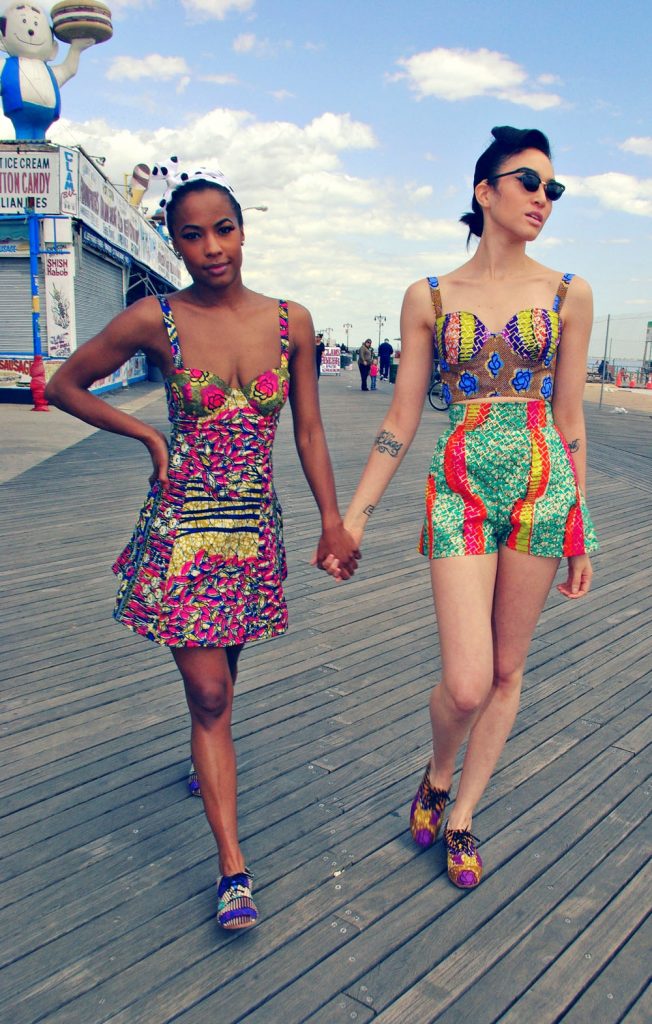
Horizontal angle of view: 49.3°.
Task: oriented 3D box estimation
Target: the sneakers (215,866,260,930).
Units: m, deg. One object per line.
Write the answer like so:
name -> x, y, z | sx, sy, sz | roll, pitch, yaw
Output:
sneakers -> -0.211, 0.900, 1.651 | 0.080, 0.065, 0.155 | -1, -8, -6

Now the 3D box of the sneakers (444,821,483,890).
sneakers -> 0.355, 0.892, 1.867 | 0.067, 0.059, 0.154 | 1, 16, -3

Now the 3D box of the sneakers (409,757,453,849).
sneakers -> 0.274, 0.843, 2.021 | 0.097, 0.253, 0.111 | 14, 5, -14

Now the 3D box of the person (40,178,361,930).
person -> -0.272, 0.100, 1.767 | 0.535, 1.705, 0.585 | 7, 12, 30

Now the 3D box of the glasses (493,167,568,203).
glasses -> 0.487, -0.785, 1.704 | 0.160, 0.073, 0.051 | 2, 10, 5
